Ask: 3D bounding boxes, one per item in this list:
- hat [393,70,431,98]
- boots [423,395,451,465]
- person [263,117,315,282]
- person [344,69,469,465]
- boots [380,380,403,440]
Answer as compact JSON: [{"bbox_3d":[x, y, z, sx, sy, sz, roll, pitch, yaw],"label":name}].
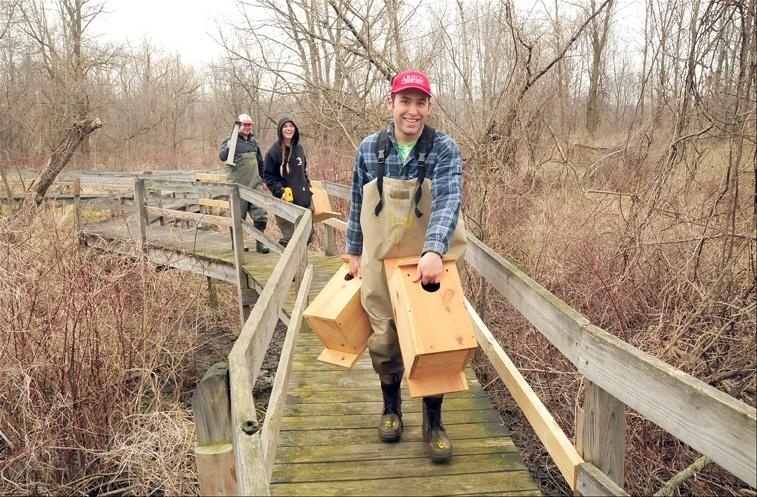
[{"bbox_3d":[0.238,-1.281,4.418,0.296,0.201,0.207,-2,13,0],"label":"hat"},{"bbox_3d":[0.472,1.485,4.689,0.192,0.514,0.505,-2,4,-9],"label":"boots"},{"bbox_3d":[-1.272,-0.899,7.891,0.660,1.802,0.862,-4,13,-11],"label":"person"},{"bbox_3d":[0.180,0.161,4.520,0.990,3.038,0.653,0,13,8],"label":"person"},{"bbox_3d":[0.104,1.405,4.897,0.209,0.461,0.595,0,-2,8],"label":"boots"}]
